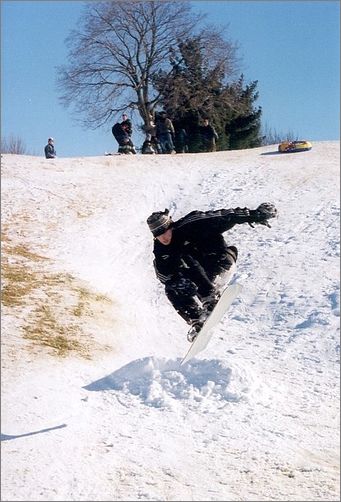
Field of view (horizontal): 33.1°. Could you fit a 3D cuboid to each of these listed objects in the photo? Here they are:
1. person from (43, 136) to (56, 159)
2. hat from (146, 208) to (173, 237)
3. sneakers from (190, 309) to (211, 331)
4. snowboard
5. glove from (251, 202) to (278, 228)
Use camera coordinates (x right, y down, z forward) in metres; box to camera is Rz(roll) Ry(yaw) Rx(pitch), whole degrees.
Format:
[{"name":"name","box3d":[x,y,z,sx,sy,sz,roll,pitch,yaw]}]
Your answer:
[{"name":"person","box3d":[-3.933,-3.381,18.818,0.321,0.680,1.124,5,13,-13]},{"name":"hat","box3d":[-0.135,-0.399,7.950,0.324,0.301,0.388,-23,7,34]},{"name":"sneakers","box3d":[0.373,0.885,7.262,0.199,0.232,0.381,10,13,11]},{"name":"snowboard","box3d":[0.555,1.091,8.201,0.348,1.438,0.159,25,13,-47]},{"name":"glove","box3d":[1.274,-0.454,7.561,0.290,0.357,0.149,2,22,20]}]
